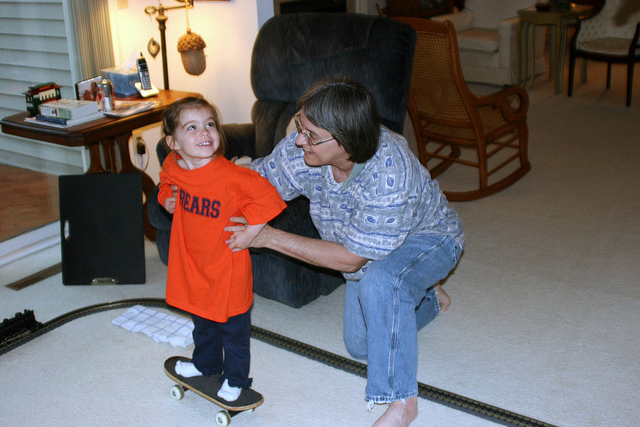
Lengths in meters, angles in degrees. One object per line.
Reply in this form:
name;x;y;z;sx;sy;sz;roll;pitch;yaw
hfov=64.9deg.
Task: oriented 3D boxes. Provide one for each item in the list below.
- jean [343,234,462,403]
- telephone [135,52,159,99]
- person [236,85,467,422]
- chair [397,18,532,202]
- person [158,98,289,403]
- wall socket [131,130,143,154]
jean;0.404;0.480;2.392;0.583;0.688;0.600;-1;20;3
telephone;-1.246;-0.969;3.588;0.154;0.277;0.186;-7;21;-12
person;0.122;0.263;2.468;1.057;1.396;1.011;-27;40;-20
chair;1.236;-0.928;4.293;1.155;1.469;1.143;-7;26;5
person;-0.494;0.174;2.279;0.635;1.349;0.332;11;24;31
wall socket;-1.467;-0.579;4.046;0.083;0.210;0.196;-11;22;-21
